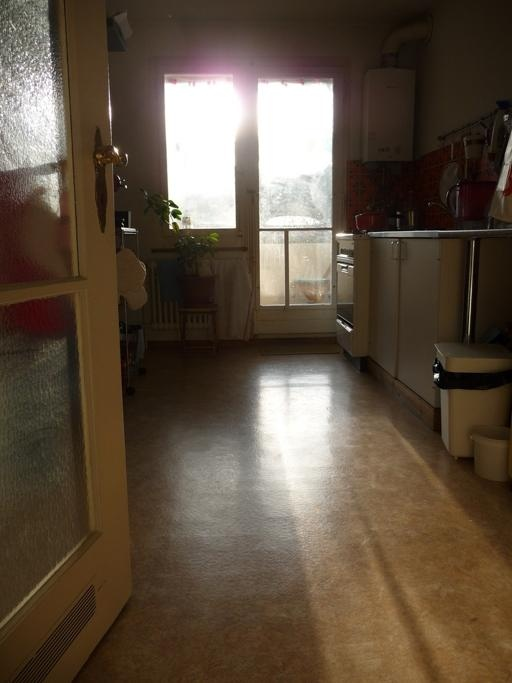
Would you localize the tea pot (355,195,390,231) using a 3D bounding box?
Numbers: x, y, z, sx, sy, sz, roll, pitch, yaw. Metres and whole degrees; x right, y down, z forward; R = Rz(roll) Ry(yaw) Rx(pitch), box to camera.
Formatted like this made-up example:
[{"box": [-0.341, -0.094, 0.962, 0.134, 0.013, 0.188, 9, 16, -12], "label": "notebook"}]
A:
[{"box": [1.006, -1.045, 4.536, 0.288, 0.331, 0.415, 3, 12, 18], "label": "tea pot"}]

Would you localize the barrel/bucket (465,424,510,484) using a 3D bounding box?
[{"box": [0.903, 0.446, 2.033, 0.152, 0.169, 0.149, 2, -3, 0], "label": "barrel/bucket"}]

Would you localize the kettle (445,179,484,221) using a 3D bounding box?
[{"box": [1.272, -0.848, 3.212, 0.145, 0.265, 0.640, 1, 7, 11], "label": "kettle"}]

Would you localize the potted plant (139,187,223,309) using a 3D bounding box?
[{"box": [-0.623, -0.836, 4.630, 0.438, 1.071, 0.468, -11, 10, -15], "label": "potted plant"}]

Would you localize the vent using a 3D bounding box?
[{"box": [1.166, -1.977, 4.518, 0.406, 0.764, 0.104, 0, 5, 7], "label": "vent"}]

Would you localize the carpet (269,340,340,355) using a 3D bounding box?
[{"box": [0.432, 0.054, 4.786, 0.695, 0.082, 0.572, 0, 7, 3], "label": "carpet"}]

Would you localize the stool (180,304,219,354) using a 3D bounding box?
[{"box": [-0.513, -0.136, 4.695, 0.333, 0.406, 0.447, -1, 6, -4], "label": "stool"}]

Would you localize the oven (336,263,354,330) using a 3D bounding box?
[{"box": [0.709, -0.355, 4.079, 0.174, 0.521, 0.423, 0, 8, -1], "label": "oven"}]
